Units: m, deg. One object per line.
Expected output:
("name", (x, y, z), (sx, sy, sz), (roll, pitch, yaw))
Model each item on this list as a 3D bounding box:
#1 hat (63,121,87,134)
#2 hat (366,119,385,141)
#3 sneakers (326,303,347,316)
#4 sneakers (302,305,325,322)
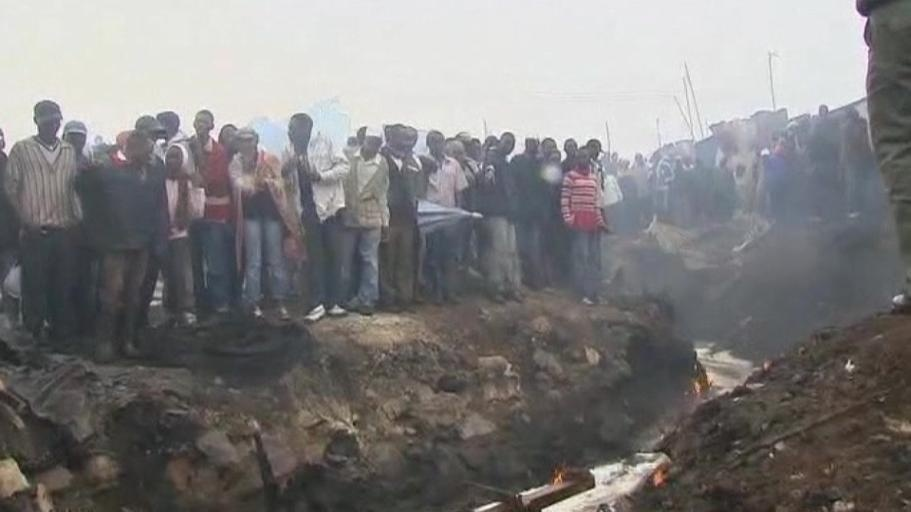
("hat", (-3.429, -1.162, 6.604), (0.184, 0.123, 0.206), (-6, 0, -19))
("hat", (-0.825, -1.287, 7.589), (0.204, 0.172, 0.549), (-6, 0, -5))
("sneakers", (-1.219, 0.561, 7.574), (0.129, 0.061, 0.126), (-4, 13, -32))
("sneakers", (-1.408, 0.581, 7.459), (0.106, 0.055, 0.201), (31, 27, 0))
